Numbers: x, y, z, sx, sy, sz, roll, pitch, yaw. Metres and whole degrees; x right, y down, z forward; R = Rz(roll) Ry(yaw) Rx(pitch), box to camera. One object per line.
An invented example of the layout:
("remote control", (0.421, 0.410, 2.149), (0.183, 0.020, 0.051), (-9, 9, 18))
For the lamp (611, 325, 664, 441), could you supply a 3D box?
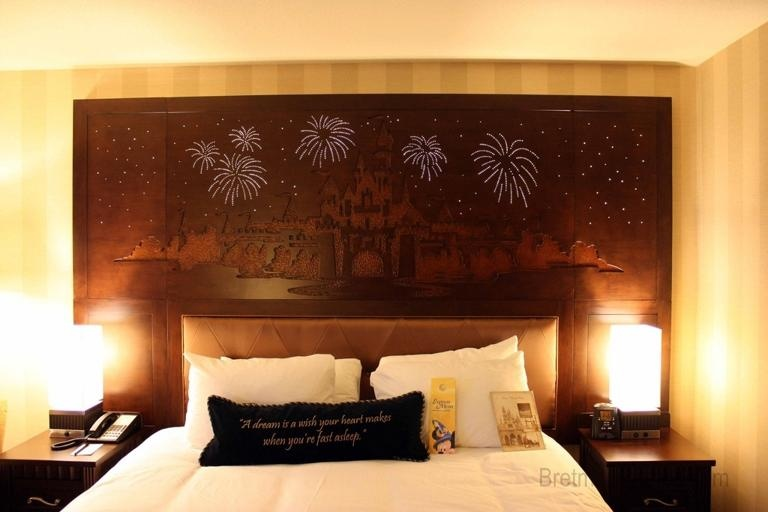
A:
("lamp", (1.870, 0.933, 4.741), (0.335, 0.836, 0.126), (-1, -4, 3))
